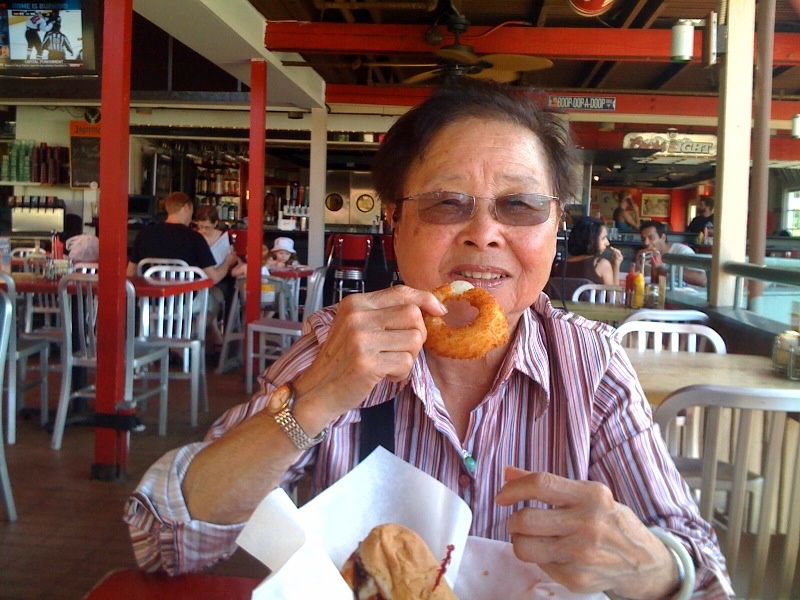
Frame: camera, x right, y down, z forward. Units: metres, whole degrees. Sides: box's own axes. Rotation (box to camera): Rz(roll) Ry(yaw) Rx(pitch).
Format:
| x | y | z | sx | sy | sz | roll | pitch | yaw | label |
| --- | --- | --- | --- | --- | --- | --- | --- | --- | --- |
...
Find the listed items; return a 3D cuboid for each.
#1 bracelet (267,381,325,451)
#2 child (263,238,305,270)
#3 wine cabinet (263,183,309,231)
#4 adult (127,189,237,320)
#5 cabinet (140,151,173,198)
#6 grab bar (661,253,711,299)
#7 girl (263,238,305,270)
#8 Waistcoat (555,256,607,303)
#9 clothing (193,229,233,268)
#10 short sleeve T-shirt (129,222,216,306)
| x | y | z | sx | sy | sz | roll | pitch | yaw | label |
| --- | --- | --- | --- | --- | --- | --- | --- | --- | --- |
| -0.291 | 0.330 | 1.968 | 0.134 | 0.084 | 0.142 | 41 | 23 | -27 | bracelet |
| -1.515 | -0.563 | 8.943 | 0.426 | 0.273 | 0.539 | 3 | -11 | -9 | child |
| -2.714 | -2.151 | 16.222 | 1.522 | 1.036 | 2.683 | 0 | 6 | -6 | wine cabinet |
| -2.374 | -0.420 | 7.571 | 0.880 | 1.336 | 1.075 | 14 | 11 | 43 | adult |
| -4.750 | -2.391 | 13.707 | 0.700 | 0.751 | 0.690 | 8 | 9 | 20 | cabinet |
| 2.505 | -0.291 | 6.235 | 0.396 | 0.332 | 0.353 | -10 | -11 | 10 | grab bar |
| -1.509 | -0.536 | 8.926 | 0.426 | 0.273 | 0.539 | 3 | -11 | -9 | girl |
| 1.658 | -0.205 | 6.587 | 0.456 | 0.444 | 0.599 | 6 | -17 | 21 | Waistcoat |
| -2.023 | -0.582 | 7.966 | 0.305 | 0.376 | 0.118 | -32 | 48 | -33 | clothing |
| -2.361 | -0.449 | 7.308 | 1.001 | 0.624 | 0.464 | 4 | 14 | 0 | short sleeve T-shirt |
